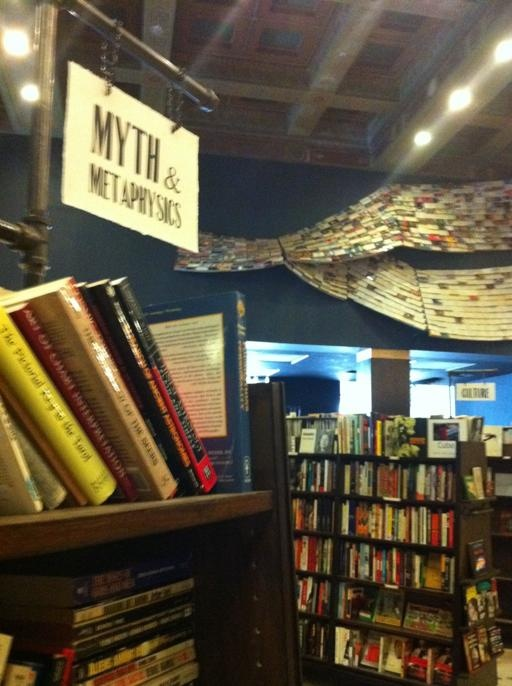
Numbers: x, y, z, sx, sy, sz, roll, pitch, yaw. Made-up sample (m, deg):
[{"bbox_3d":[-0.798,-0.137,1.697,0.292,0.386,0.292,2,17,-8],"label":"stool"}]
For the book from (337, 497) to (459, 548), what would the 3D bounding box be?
[{"bbox_3d":[1.033,1.273,4.313,0.852,0.265,0.305,-6,-8,40],"label":"book"}]

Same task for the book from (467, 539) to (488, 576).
[{"bbox_3d":[1.472,1.417,4.041,0.256,0.235,0.057,6,-14,-40],"label":"book"}]

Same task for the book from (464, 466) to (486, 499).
[{"bbox_3d":[1.483,0.948,4.113,0.054,0.221,0.238,-8,2,41],"label":"book"}]
